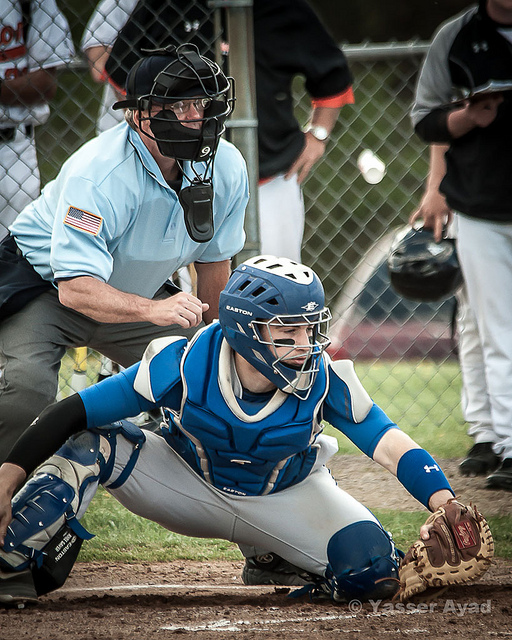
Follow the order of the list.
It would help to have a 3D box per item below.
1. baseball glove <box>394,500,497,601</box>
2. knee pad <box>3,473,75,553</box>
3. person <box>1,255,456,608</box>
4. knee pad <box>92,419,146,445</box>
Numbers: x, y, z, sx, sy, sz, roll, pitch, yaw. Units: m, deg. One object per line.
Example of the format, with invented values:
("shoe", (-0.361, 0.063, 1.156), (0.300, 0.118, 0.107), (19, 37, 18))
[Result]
("baseball glove", (0.407, 0.509, 1.563), (0.284, 0.103, 0.159), (0, 54, -27))
("knee pad", (-0.507, 0.426, 1.582), (0.119, 0.169, 0.040), (42, -20, 9))
("person", (-0.023, 0.286, 1.772), (0.994, 0.843, 0.615), (-3, -14, 11))
("knee pad", (-0.347, 0.292, 1.766), (0.109, 0.028, 0.069), (19, 5, -26))
